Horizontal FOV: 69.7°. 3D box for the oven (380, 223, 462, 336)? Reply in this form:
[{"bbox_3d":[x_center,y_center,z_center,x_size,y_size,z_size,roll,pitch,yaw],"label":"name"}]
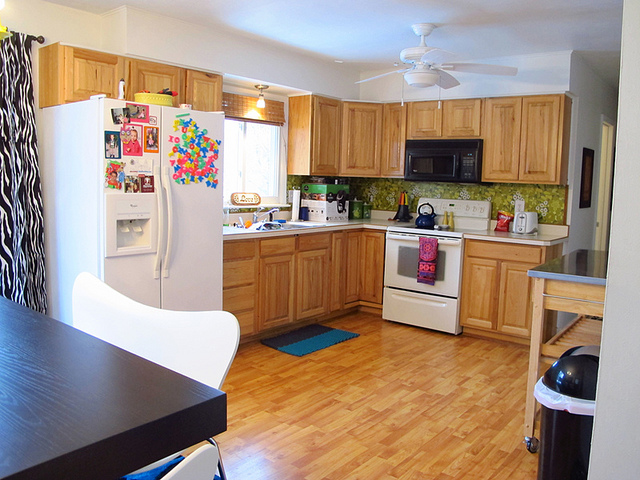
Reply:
[{"bbox_3d":[1.196,0.394,5.070,0.784,1.026,0.699,7,8,30],"label":"oven"}]

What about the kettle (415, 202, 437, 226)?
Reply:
[{"bbox_3d":[1.190,-0.272,5.234,0.319,0.312,0.233,0,0,-28],"label":"kettle"}]

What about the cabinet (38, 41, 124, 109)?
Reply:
[{"bbox_3d":[-1.859,-1.230,3.627,0.352,0.470,0.532,10,13,33],"label":"cabinet"}]

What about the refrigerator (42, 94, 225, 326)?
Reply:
[{"bbox_3d":[-1.403,-0.185,3.471,1.353,1.646,0.774,-1,9,-17],"label":"refrigerator"}]

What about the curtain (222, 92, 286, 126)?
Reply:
[{"bbox_3d":[-0.716,-1.380,4.899,0.714,0.251,0.054,-2,11,-31],"label":"curtain"}]

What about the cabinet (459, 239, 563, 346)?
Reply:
[{"bbox_3d":[1.803,0.580,4.816,0.961,1.093,0.879,3,-20,25],"label":"cabinet"}]

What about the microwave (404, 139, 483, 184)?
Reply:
[{"bbox_3d":[1.449,-0.884,5.193,0.447,0.484,0.919,-14,18,-40],"label":"microwave"}]
